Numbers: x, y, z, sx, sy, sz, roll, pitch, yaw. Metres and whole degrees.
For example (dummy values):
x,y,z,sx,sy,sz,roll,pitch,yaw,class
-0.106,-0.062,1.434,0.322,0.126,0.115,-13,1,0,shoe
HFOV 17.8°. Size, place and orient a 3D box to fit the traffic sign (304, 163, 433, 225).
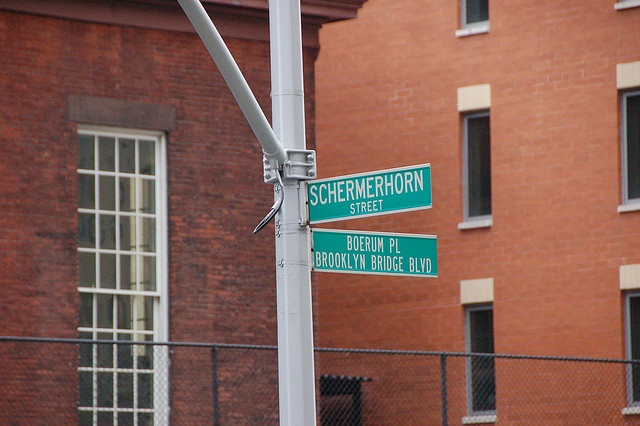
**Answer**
x,y,z,sx,sy,sz,roll,pitch,yaw,class
0.782,-0.284,32.041,2.235,0.744,0.242,-8,-21,30,traffic sign
